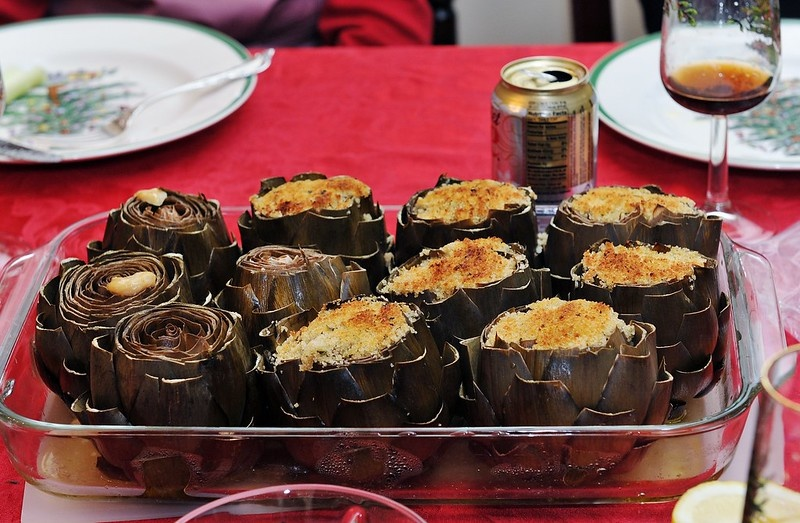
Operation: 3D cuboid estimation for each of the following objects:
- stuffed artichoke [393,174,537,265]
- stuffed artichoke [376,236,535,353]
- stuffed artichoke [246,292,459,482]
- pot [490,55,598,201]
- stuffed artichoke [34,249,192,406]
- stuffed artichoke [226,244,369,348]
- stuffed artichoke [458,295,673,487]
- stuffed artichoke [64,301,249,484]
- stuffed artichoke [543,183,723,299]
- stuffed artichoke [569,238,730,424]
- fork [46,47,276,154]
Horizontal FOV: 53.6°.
[{"bbox_3d":[0.093,-0.067,1.118,0.145,0.144,0.134,2,33,8],"label":"stuffed artichoke"},{"bbox_3d":[0.078,0.018,1.025,0.135,0.110,0.168,-33,22,-24],"label":"stuffed artichoke"},{"bbox_3d":[-0.050,0.114,0.950,0.214,0.176,0.217,-7,12,-11],"label":"stuffed artichoke"},{"bbox_3d":[0.225,-0.202,1.226,0.143,0.215,0.137,-7,33,5],"label":"pot"},{"bbox_3d":[-0.374,0.106,1.119,0.210,0.261,0.183,-14,66,-12],"label":"stuffed artichoke"},{"bbox_3d":[-0.131,0.040,1.056,0.160,0.110,0.133,-5,7,-2],"label":"stuffed artichoke"},{"bbox_3d":[0.198,0.146,0.945,0.242,0.138,0.187,-3,43,4],"label":"stuffed artichoke"},{"bbox_3d":[-0.282,0.174,1.012,0.193,0.214,0.185,-5,19,-9],"label":"stuffed artichoke"},{"bbox_3d":[0.324,-0.048,1.105,0.193,0.112,0.151,-5,29,-1],"label":"stuffed artichoke"},{"bbox_3d":[0.336,0.118,1.096,0.231,0.259,0.258,1,23,13],"label":"stuffed artichoke"},{"bbox_3d":[-0.471,-0.320,1.602,0.478,0.071,0.067,-25,46,-18],"label":"fork"}]
